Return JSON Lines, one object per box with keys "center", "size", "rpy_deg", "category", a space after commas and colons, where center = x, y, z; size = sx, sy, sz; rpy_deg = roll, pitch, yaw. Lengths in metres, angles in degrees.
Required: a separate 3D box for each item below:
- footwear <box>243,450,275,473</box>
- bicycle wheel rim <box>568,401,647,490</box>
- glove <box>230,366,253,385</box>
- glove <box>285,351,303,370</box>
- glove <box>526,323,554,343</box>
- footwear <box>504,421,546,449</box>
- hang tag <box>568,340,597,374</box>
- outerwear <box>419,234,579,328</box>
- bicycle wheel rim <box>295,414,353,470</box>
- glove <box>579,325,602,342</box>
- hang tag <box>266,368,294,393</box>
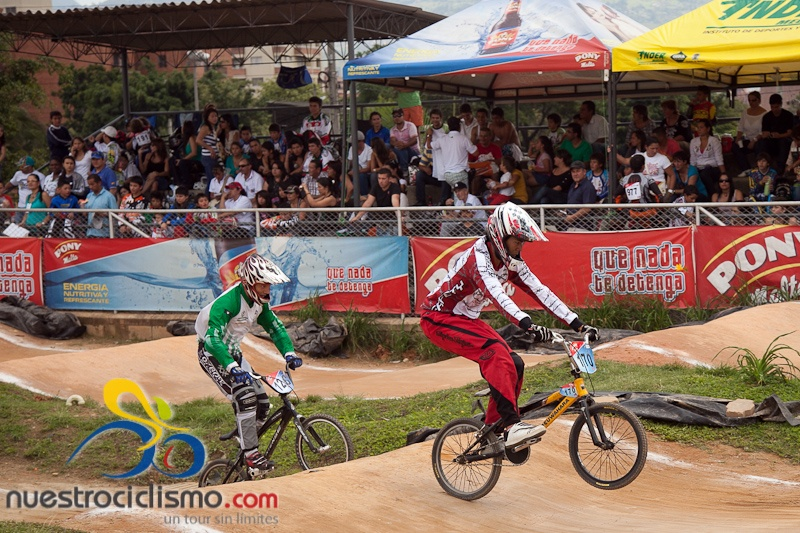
{"center": [-2.195, 2.995, 15.109], "size": [0.603, 0.273, 0.224], "rpy_deg": [-3, 0, 34], "category": "footwear"}
{"center": [3.022, 2.626, 14.416], "size": [1.130, 1.363, 0.445], "rpy_deg": [1, 9, 17], "category": "bicycle wheel rim"}
{"center": [-2.475, 1.674, 15.185], "size": [0.256, 0.333, 0.355], "rpy_deg": [-1, 8, 5], "category": "glove"}
{"center": [-1.677, 1.481, 15.353], "size": [0.273, 0.132, 0.225], "rpy_deg": [24, 7, 43], "category": "glove"}
{"center": [2.078, 0.960, 14.589], "size": [0.323, 0.146, 0.262], "rpy_deg": [22, 40, -14], "category": "glove"}
{"center": [1.778, 2.474, 14.435], "size": [0.709, 0.315, 0.266], "rpy_deg": [-13, -13, 17], "category": "footwear"}
{"center": [2.694, 1.350, 14.602], "size": [0.354, 0.448, 0.266], "rpy_deg": [0, 8, 9], "category": "hang tag"}
{"center": [1.515, 0.326, 14.983], "size": [2.361, 1.455, 1.507], "rpy_deg": [22, 16, 36], "category": "outerwear"}
{"center": [-1.218, 2.811, 15.202], "size": [1.090, 1.054, 0.202], "rpy_deg": [6, -24, -39], "category": "bicycle wheel rim"}
{"center": [2.821, 0.947, 14.642], "size": [0.254, 0.120, 0.263], "rpy_deg": [21, -16, 45], "category": "glove"}
{"center": [-1.894, 1.793, 15.170], "size": [0.417, 0.349, 0.307], "rpy_deg": [-3, 8, -8], "category": "hang tag"}
